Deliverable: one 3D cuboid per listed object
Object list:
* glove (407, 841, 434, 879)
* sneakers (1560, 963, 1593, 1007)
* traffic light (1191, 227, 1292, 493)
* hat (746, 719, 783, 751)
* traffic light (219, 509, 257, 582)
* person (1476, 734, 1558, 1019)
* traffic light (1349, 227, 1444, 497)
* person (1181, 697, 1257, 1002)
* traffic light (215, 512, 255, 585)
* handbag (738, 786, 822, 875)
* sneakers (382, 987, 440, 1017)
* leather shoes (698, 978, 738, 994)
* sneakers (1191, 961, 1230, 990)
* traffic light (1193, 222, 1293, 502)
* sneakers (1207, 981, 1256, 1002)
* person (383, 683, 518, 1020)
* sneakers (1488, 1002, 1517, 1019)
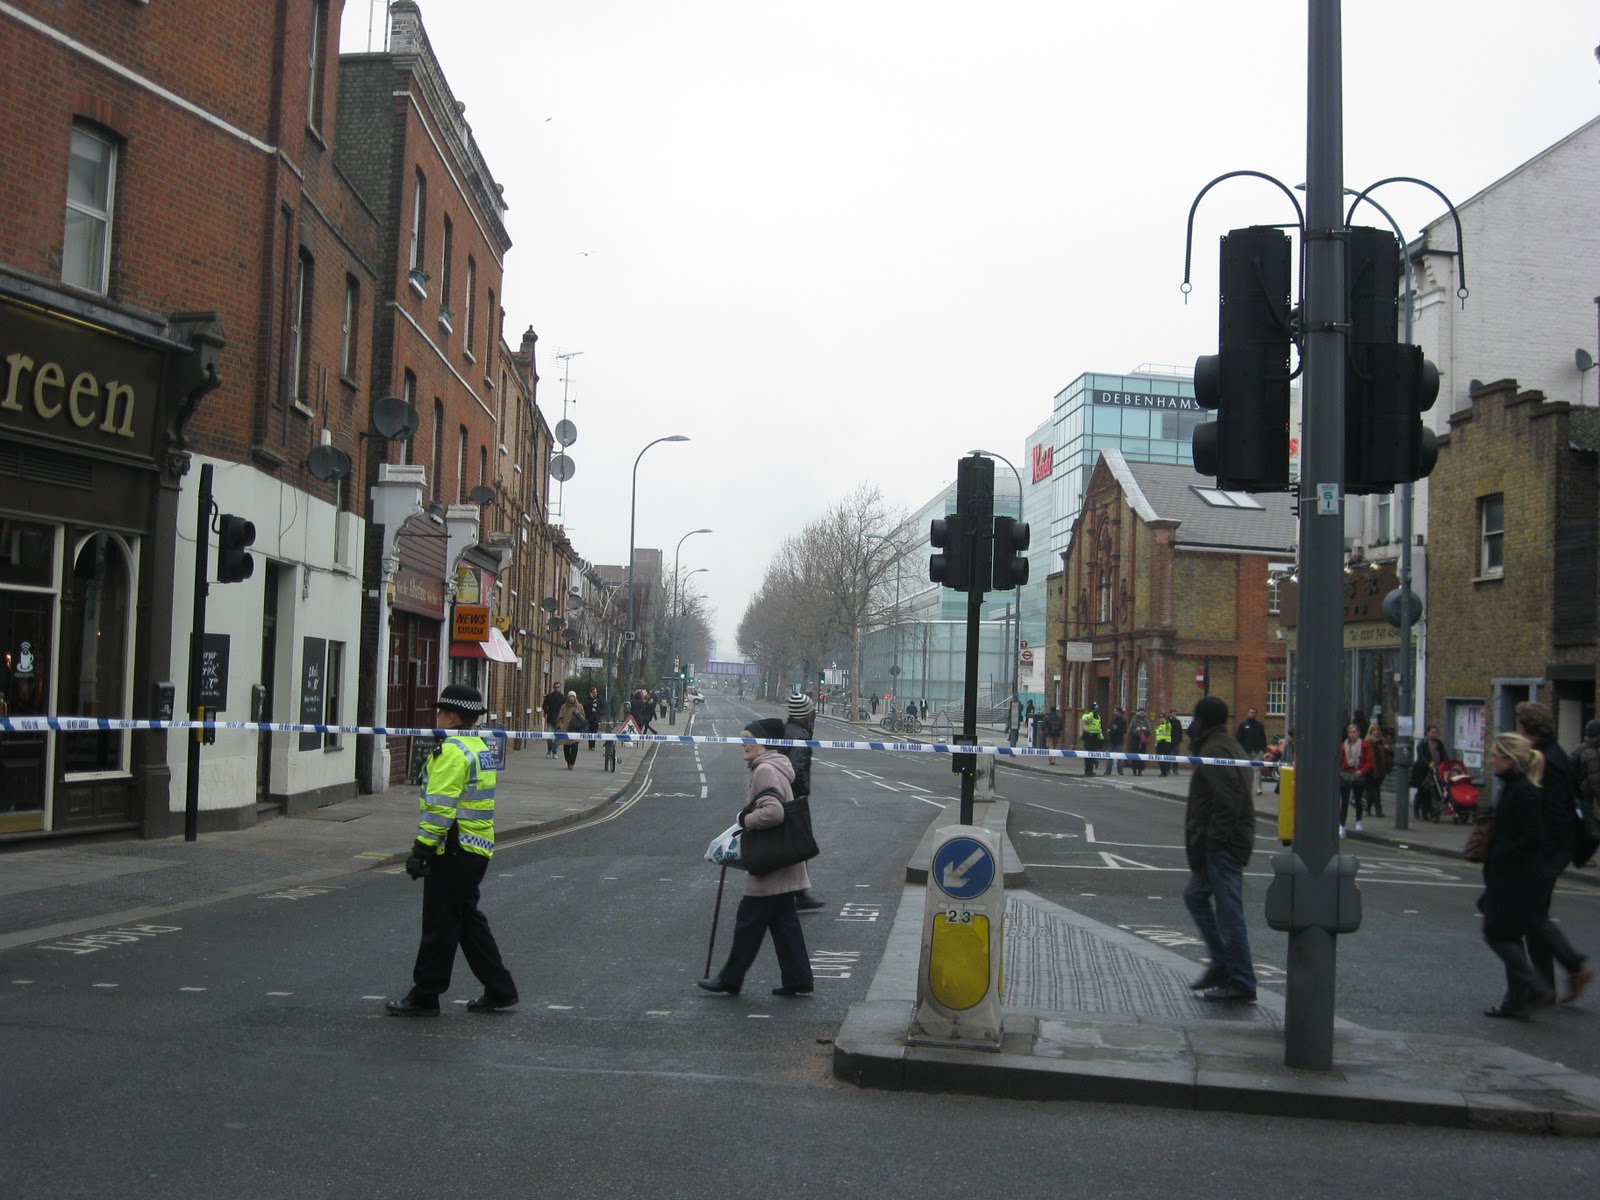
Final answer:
[{"bbox_3d":[-2.725,1.859,12.147,0.177,0.269,0.633,2,-6,-11],"label":"glove"},{"bbox_3d":[6.337,3.131,13.766,0.158,0.398,0.139,22,31,14],"label":"sneakers"},{"bbox_3d":[2.946,-1.599,11.206,0.670,1.745,0.426,-1,-5,18],"label":"traffic light"},{"bbox_3d":[-0.283,1.095,13.829,0.262,0.248,0.190,7,-7,-37],"label":"hat"},{"bbox_3d":[-6.790,-0.621,20.283,0.388,0.844,1.387,2,-6,-19],"label":"traffic light"},{"bbox_3d":[5.708,2.173,13.552,0.498,2.206,0.929,-1,-5,22],"label":"person"},{"bbox_3d":[3.910,-1.585,11.194,0.572,1.735,0.526,-2,-6,30],"label":"traffic light"},{"bbox_3d":[3.346,1.945,13.459,0.525,2.394,1.058,-1,-5,14],"label":"person"},{"bbox_3d":[-6.698,-0.650,20.015,0.388,0.844,0.818,2,-6,-20],"label":"traffic light"},{"bbox_3d":[-0.169,1.847,13.393,0.633,0.645,0.490,3,-6,-22],"label":"handbag"},{"bbox_3d":[-2.813,2.940,12.221,0.336,0.288,0.179,18,-14,-1],"label":"sneakers"},{"bbox_3d":[-0.645,3.007,13.202,0.329,0.155,0.175,-1,-6,12],"label":"leather shoes"},{"bbox_3d":[3.172,2.945,13.237,0.405,0.210,0.149,-1,-7,-4],"label":"sneakers"},{"bbox_3d":[2.946,-1.600,11.203,0.670,1.746,0.421,-1,-5,18],"label":"traffic light"},{"bbox_3d":[3.340,3.050,13.080,0.413,0.211,0.151,2,-8,25],"label":"sneakers"},{"bbox_3d":[-2.553,1.834,12.586,0.858,2.409,1.410,1,-5,-10],"label":"person"},{"bbox_3d":[5.475,3.188,13.156,0.217,0.113,0.081,-6,-1,10],"label":"sneakers"}]
